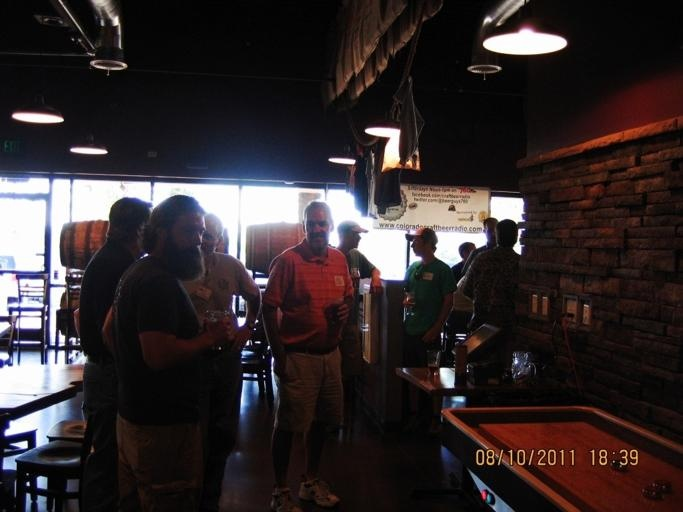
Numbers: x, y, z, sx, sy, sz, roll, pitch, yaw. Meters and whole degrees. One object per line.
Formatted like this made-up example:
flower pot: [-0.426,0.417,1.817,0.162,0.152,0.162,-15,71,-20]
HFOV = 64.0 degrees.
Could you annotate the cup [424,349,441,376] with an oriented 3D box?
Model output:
cup: [0.619,0.727,3.692,0.122,0.197,0.127,1,-7,0]

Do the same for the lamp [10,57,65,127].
lamp: [-3.639,-1.824,6.634,0.539,0.382,0.542,-3,10,-28]

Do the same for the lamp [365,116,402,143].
lamp: [0.327,-1.018,4.310,0.255,0.141,0.213,0,4,-5]

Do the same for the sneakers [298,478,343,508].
sneakers: [-0.150,1.595,3.719,0.307,0.146,0.126,-1,-5,30]

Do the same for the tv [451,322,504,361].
tv: [0.889,0.526,3.537,0.225,0.060,0.246,-31,4,37]

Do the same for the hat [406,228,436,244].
hat: [0.751,-0.187,4.968,0.195,0.106,0.132,16,-2,2]

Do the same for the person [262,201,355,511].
person: [-0.203,0.658,3.562,0.607,2.031,0.386,0,3,-14]
